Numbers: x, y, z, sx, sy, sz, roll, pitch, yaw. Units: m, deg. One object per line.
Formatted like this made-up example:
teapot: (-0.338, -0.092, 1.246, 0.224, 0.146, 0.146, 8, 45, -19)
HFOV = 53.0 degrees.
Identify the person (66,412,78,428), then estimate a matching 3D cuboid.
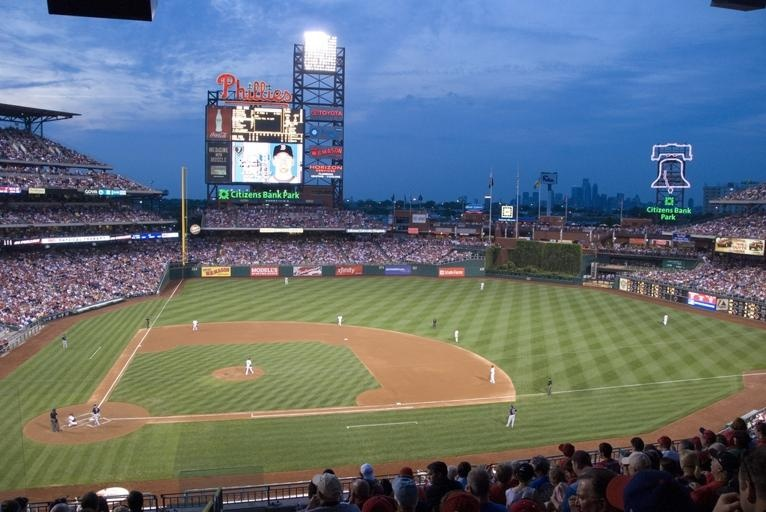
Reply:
person: (-18.707, 9.825, 46.561, 0.641, 0.801, 1.096, -6, 16, -22)

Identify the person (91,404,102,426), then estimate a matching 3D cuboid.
person: (-17.431, 9.511, 47.018, 0.583, 1.238, 1.691, -6, 16, -19)

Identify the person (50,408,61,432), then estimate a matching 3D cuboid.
person: (-19.610, 9.674, 46.216, 0.523, 1.290, 1.641, -7, 16, -24)

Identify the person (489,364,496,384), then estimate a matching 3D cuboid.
person: (7.600, 8.060, 53.208, 0.471, 1.002, 1.457, 2, 15, 8)

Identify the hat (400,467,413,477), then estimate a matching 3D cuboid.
hat: (1.033, 9.248, 32.745, 0.502, 0.350, 0.661, 1, 0, -1)
